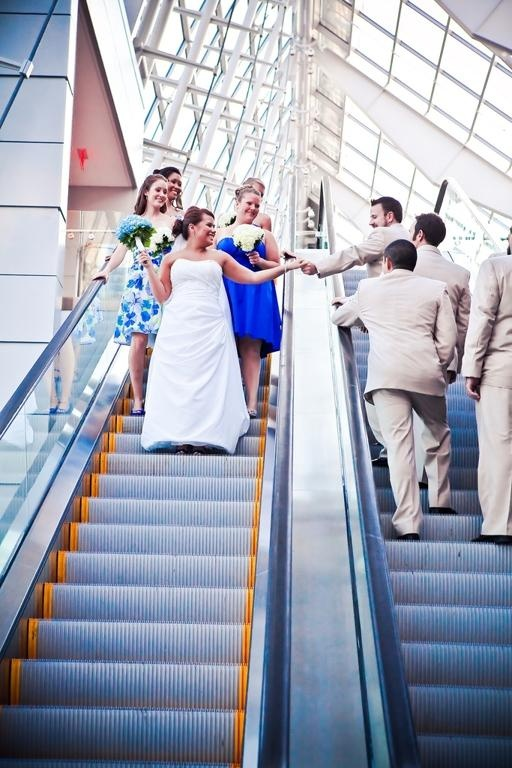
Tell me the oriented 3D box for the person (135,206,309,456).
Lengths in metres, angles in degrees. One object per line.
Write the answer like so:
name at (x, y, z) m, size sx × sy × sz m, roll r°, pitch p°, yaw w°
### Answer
person at (-0.430, -0.406, 3.998) m, size 0.800 × 1.672 × 0.789 m, roll 1°, pitch 9°, yaw 0°

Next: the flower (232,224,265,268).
flower at (-0.045, -1.083, 4.358) m, size 0.206 × 0.234 × 0.217 m, roll -32°, pitch 26°, yaw -5°
